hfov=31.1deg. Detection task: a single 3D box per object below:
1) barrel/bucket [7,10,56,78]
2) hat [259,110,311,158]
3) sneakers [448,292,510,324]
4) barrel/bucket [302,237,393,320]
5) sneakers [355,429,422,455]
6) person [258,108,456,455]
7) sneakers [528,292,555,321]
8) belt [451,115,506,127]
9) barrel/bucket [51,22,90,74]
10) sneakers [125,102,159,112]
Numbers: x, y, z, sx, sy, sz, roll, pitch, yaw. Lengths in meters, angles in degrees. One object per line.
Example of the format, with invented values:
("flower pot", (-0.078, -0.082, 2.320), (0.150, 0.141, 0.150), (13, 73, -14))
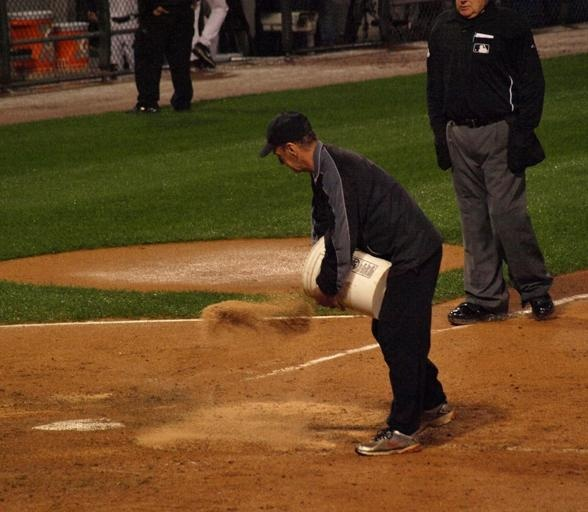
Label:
("barrel/bucket", (-4.528, -3.703, 18.242), (0.918, 1.318, 0.398), (-3, -1, -22))
("hat", (-0.050, -0.749, 6.520), (0.338, 0.269, 0.209), (-1, 17, -2))
("sneakers", (1.458, 0.417, 8.590), (0.557, 0.241, 0.191), (-1, 11, -8))
("barrel/bucket", (0.281, 0.124, 6.718), (0.346, 0.548, 0.356), (-3, -15, -1))
("sneakers", (0.607, 1.191, 6.810), (0.428, 0.182, 0.153), (-1, 6, -12))
("person", (0.471, 0.172, 6.661), (1.087, 2.121, 0.527), (2, 17, 8))
("sneakers", (1.980, 0.392, 8.493), (0.239, 0.149, 0.240), (-6, 13, -14))
("belt", (1.420, -1.048, 8.189), (0.446, 0.107, 0.081), (9, 19, 28))
("barrel/bucket", (-4.071, -3.761, 19.128), (0.658, 0.854, 0.647), (-1, 17, 0))
("sneakers", (-2.304, -2.216, 15.803), (0.492, 0.212, 0.166), (3, 11, 9))
